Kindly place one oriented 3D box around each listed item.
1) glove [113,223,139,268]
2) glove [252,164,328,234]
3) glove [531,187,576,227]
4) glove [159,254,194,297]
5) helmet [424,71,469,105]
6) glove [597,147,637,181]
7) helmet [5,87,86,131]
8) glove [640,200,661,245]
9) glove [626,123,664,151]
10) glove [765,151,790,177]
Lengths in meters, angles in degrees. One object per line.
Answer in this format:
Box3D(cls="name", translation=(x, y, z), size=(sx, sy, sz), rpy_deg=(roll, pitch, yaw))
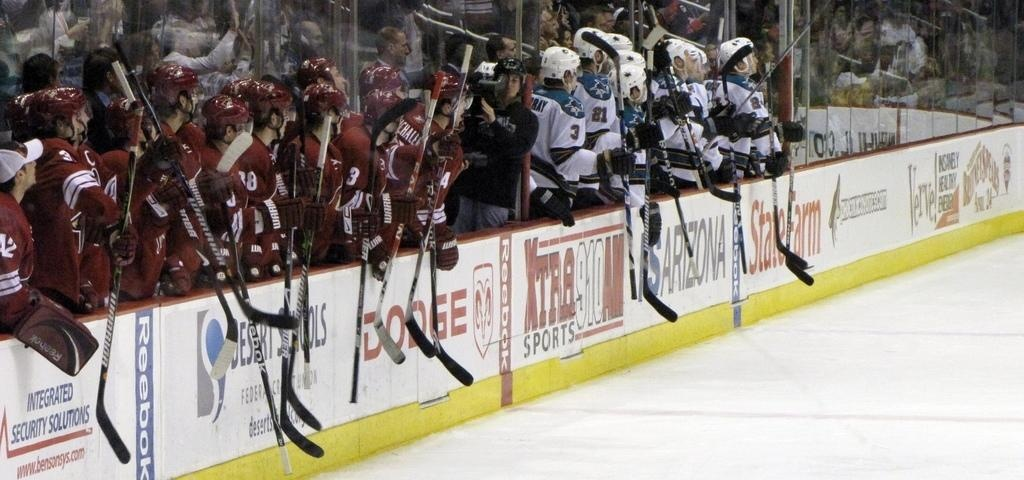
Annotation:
Box3D(cls="glove", translation=(-3.518, 0.048, 12.152), size=(0.272, 0.326, 0.138), rpy_deg=(10, -14, -16))
Box3D(cls="glove", translation=(-2.062, -0.380, 12.624), size=(0.734, 0.533, 0.300), rpy_deg=(2, -4, -1))
Box3D(cls="glove", translation=(0.449, -0.331, 14.548), size=(0.552, 0.322, 0.198), rpy_deg=(10, -26, -21))
Box3D(cls="glove", translation=(-3.150, 0.320, 12.413), size=(0.308, 0.353, 0.158), rpy_deg=(-2, -7, 3))
Box3D(cls="helmet", translation=(-0.677, -1.562, 13.633), size=(0.408, 0.264, 0.367), rpy_deg=(-3, 7, 3))
Box3D(cls="glove", translation=(1.125, -0.848, 14.881), size=(0.376, 0.141, 0.348), rpy_deg=(1, 27, 0))
Box3D(cls="helmet", translation=(-4.191, -1.183, 12.010), size=(0.557, 0.440, 0.411), rpy_deg=(6, -9, -31))
Box3D(cls="glove", translation=(1.569, -0.217, 15.053), size=(0.191, 0.506, 0.236), rpy_deg=(1, 18, 28))
Box3D(cls="glove", translation=(1.453, -1.157, 14.891), size=(0.417, 0.351, 0.271), rpy_deg=(0, 9, 3))
Box3D(cls="glove", translation=(3.211, -0.933, 16.437), size=(0.249, 0.303, 0.319), rpy_deg=(6, -4, 1))
